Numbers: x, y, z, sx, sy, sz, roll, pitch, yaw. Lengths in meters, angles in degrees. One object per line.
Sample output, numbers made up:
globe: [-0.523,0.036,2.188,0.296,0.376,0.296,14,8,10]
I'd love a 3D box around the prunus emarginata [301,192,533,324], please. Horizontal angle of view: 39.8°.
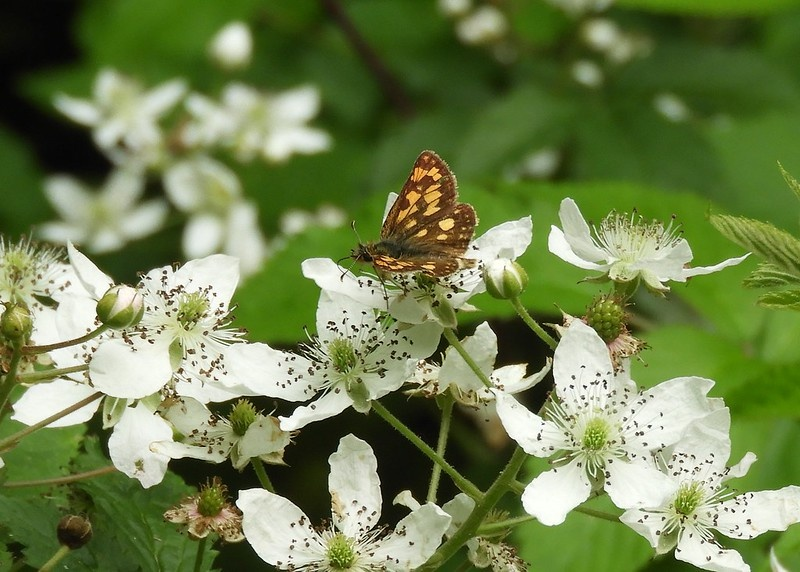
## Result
prunus emarginata: [0.029,-0.020,2.424,0.310,0.133,0.307,9,37,32]

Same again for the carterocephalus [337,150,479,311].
carterocephalus: [0.042,-0.115,2.377,0.228,0.221,0.280,-23,44,-27]

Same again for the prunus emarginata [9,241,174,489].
prunus emarginata: [-0.670,0.133,2.349,0.340,0.371,0.461,-5,39,-7]

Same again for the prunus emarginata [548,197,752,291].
prunus emarginata: [0.496,-0.081,2.432,0.257,0.122,0.292,11,2,-32]

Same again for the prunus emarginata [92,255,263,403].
prunus emarginata: [-0.469,0.083,2.328,0.293,0.137,0.316,-5,68,-7]
